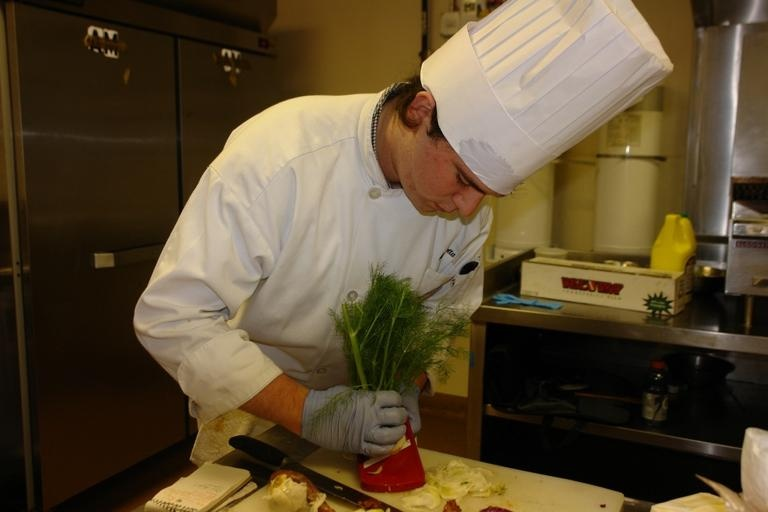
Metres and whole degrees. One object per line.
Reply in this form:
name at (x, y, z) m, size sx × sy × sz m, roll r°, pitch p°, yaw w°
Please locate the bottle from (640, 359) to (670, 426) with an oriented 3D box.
bottle at (1.169, 0.562, 2.551) m, size 0.109 × 0.249 × 0.259 m, roll 4°, pitch 3°, yaw 27°
